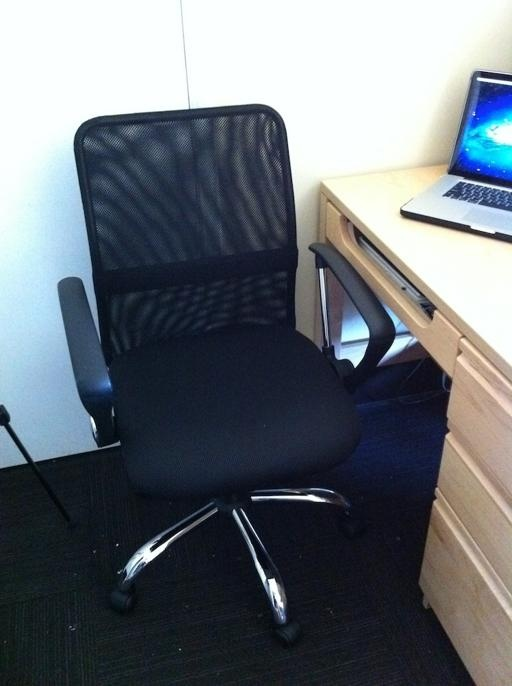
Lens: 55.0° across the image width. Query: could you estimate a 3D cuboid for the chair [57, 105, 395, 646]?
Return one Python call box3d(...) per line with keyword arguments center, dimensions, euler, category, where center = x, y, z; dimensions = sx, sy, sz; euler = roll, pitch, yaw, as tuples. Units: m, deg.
box3d(center=(-0.050, 0.060, 0.987), dimensions=(0.546, 0.876, 0.611), euler=(-4, 30, -6), category="chair")
